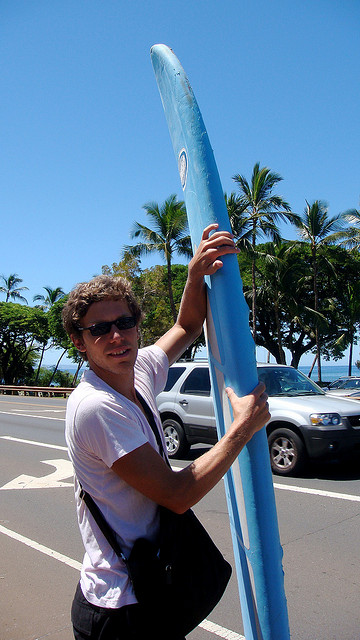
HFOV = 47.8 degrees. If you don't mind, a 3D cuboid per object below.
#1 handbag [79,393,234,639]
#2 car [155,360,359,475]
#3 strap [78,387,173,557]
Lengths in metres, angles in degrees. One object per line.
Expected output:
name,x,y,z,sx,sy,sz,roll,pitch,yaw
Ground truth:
handbag,-0.047,0.570,0.995,0.362,0.344,0.191,-4,-4,-13
car,1.342,1.700,7.837,1.984,2.067,3.980,5,-10,-45
strap,-0.158,0.370,1.056,0.068,0.358,0.184,-21,-10,0
